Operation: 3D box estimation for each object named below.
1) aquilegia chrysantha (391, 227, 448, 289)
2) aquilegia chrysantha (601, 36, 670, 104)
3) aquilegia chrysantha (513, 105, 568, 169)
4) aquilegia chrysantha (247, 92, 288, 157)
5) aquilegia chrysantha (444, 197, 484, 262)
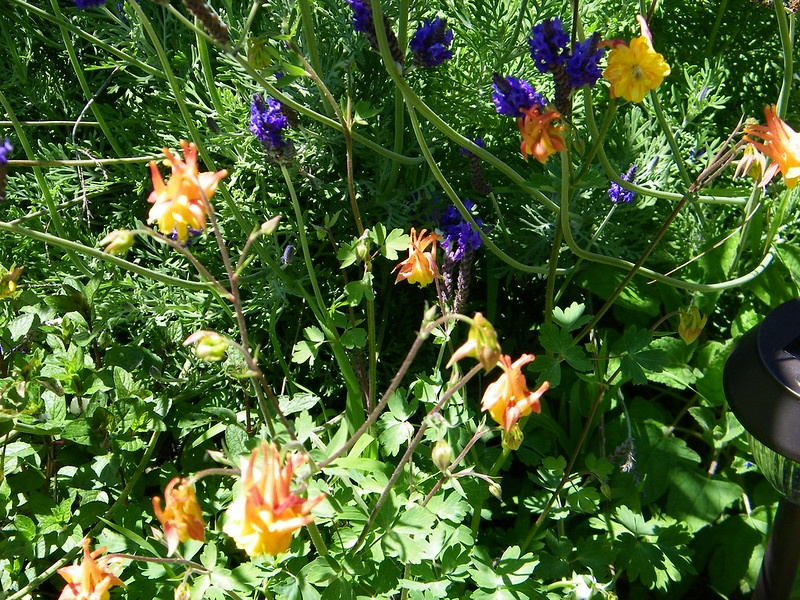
[{"bbox_3d":[0.056,-0.096,1.831,0.123,0.158,0.129,-6,-2,43],"label":"aquilegia chrysantha"},{"bbox_3d":[0.531,-0.520,1.639,0.127,0.161,0.061,30,20,-2],"label":"aquilegia chrysantha"},{"bbox_3d":[0.341,-0.408,1.739,0.114,0.138,0.091,25,-2,3],"label":"aquilegia chrysantha"},{"bbox_3d":[-0.338,-0.460,1.869,0.099,0.116,0.192,-17,40,-27],"label":"aquilegia chrysantha"},{"bbox_3d":[0.153,-0.186,1.961,0.080,0.163,0.141,-2,15,-26],"label":"aquilegia chrysantha"}]
